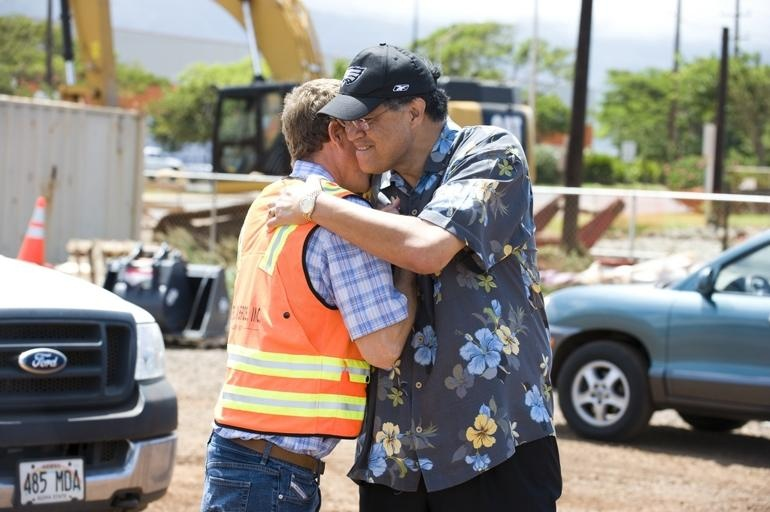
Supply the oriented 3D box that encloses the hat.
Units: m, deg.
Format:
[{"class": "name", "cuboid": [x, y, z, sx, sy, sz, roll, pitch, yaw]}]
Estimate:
[{"class": "hat", "cuboid": [-0.041, -1.033, 7.448, 0.593, 0.337, 0.389, -9, 14, -14]}]
